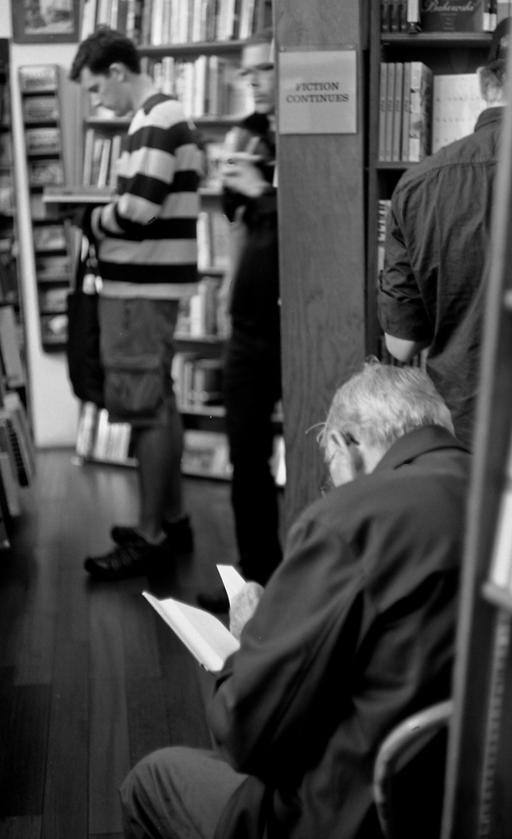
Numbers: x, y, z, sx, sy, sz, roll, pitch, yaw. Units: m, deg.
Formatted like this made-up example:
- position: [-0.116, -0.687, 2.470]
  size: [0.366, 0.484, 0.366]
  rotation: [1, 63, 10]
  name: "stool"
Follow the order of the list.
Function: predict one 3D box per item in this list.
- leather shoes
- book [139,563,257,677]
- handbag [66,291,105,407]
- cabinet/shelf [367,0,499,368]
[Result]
- position: [-0.395, 0.404, 2.341]
  size: [0.390, 0.214, 0.133]
  rotation: [-11, 0, -44]
  name: "leather shoes"
- position: [-0.088, 0.279, 1.005]
  size: [0.164, 0.082, 0.226]
  rotation: [34, -14, -7]
  name: "book"
- position: [-0.541, -0.223, 2.163]
  size: [0.050, 0.302, 0.261]
  rotation: [1, 13, -8]
  name: "handbag"
- position: [0.411, -0.452, 1.553]
  size: [0.246, 0.655, 0.128]
  rotation: [6, 15, 23]
  name: "cabinet/shelf"
